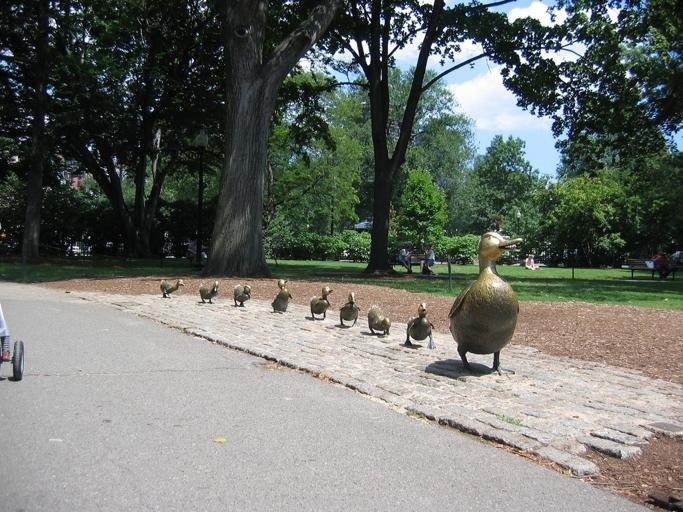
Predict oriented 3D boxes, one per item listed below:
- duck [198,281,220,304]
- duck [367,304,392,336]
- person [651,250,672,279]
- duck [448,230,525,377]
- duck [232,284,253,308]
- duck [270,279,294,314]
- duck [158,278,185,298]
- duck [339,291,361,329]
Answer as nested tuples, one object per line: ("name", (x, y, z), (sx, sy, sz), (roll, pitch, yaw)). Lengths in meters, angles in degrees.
("duck", (-3.461, 0.906, 13.632), (0.401, 0.550, 1.126), (2, 1, -16))
("duck", (0.719, 1.221, 10.045), (0.368, 0.528, 0.587), (2, 1, -2))
("person", (18.836, 0.536, 30.786), (0.831, 1.297, 3.326), (3, 1, 30))
("duck", (1.963, 0.634, 7.246), (0.918, 1.948, 0.580), (3, 2, 20))
("duck", (-2.496, 0.962, 13.146), (0.374, 0.541, 0.800), (2, 1, -14))
("duck", (-1.401, 0.913, 12.338), (0.416, 0.778, 1.260), (2, 1, -6))
("duck", (-4.787, 0.882, 14.524), (0.789, 0.690, 0.414), (3, 6, 9))
("duck", (0.208, 1.190, 10.894), (0.329, 0.589, 0.727), (1, -7, -11))
